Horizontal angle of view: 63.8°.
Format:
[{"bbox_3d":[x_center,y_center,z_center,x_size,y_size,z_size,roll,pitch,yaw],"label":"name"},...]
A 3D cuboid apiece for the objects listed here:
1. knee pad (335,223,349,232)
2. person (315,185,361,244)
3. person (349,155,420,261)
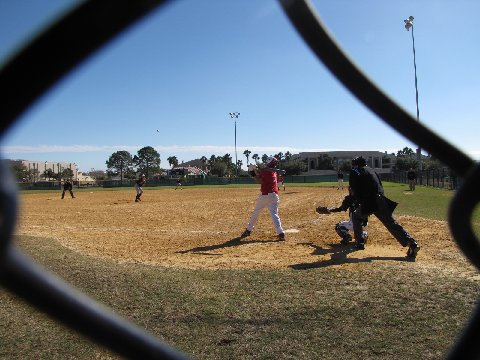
[{"bbox_3d":[1.855,0.866,7.047,0.156,0.121,0.121,10,-2,17],"label":"knee pad"},{"bbox_3d":[1.897,0.683,7.185,0.751,1.090,0.485,-8,-24,35],"label":"person"},{"bbox_3d":[2.308,0.398,6.426,0.910,1.631,1.208,-2,3,16],"label":"person"}]
